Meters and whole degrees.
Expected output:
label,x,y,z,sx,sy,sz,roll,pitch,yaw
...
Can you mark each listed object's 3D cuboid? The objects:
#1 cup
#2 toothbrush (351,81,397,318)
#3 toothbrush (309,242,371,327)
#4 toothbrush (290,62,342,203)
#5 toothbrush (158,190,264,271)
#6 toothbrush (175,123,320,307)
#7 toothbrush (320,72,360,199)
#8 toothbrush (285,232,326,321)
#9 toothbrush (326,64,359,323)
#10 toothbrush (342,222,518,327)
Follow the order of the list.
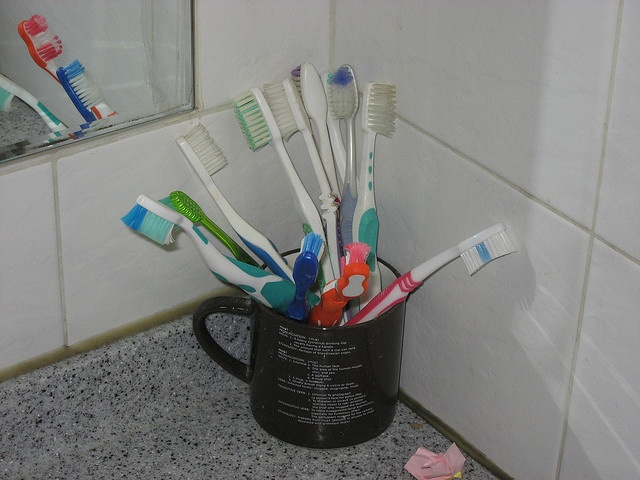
label,x,y,z,sx,sy,sz,roll,pitch,yaw
cup,-0.035,0.121,0.747,0.274,0.217,0.185,11,20,24
toothbrush,0.066,-0.047,0.630,0.050,0.269,0.022,6,12,22
toothbrush,0.022,0.047,0.589,0.028,0.149,0.047,18,68,-3
toothbrush,-0.001,-0.155,0.675,0.040,0.220,0.011,-15,26,3
toothbrush,-0.140,-0.011,0.660,0.012,0.141,0.023,-52,28,-15
toothbrush,-0.096,-0.035,0.671,0.036,0.265,0.029,-31,1,19
toothbrush,0.025,-0.140,0.674,0.033,0.185,0.027,-1,18,13
toothbrush,-0.017,0.035,0.548,0.027,0.118,0.029,16,48,7
toothbrush,0.035,-0.051,0.663,0.029,0.303,0.014,2,-4,-30
toothbrush,0.128,0.041,0.611,0.213,0.023,0.039,-33,64,24
